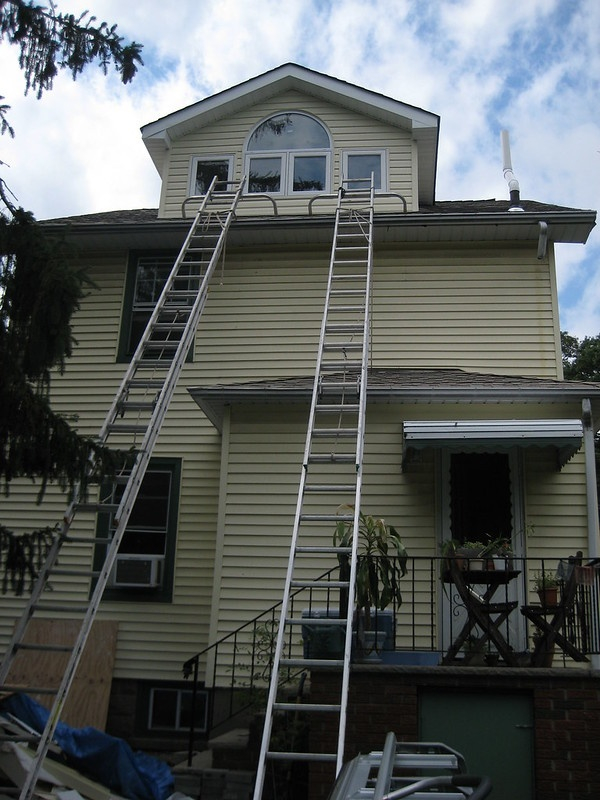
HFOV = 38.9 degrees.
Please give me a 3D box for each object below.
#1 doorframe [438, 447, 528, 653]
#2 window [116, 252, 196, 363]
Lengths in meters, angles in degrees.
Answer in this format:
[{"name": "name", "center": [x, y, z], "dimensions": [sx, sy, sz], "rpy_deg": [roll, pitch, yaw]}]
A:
[{"name": "doorframe", "center": [1.960, 1.569, 9.121], "dimensions": [0.878, 2.231, 0.627], "rpy_deg": [-1, -28, 14]}, {"name": "window", "center": [-1.946, -1.281, 11.504], "dimensions": [0.779, 1.528, 0.148], "rpy_deg": [-4, -27, 6]}]
